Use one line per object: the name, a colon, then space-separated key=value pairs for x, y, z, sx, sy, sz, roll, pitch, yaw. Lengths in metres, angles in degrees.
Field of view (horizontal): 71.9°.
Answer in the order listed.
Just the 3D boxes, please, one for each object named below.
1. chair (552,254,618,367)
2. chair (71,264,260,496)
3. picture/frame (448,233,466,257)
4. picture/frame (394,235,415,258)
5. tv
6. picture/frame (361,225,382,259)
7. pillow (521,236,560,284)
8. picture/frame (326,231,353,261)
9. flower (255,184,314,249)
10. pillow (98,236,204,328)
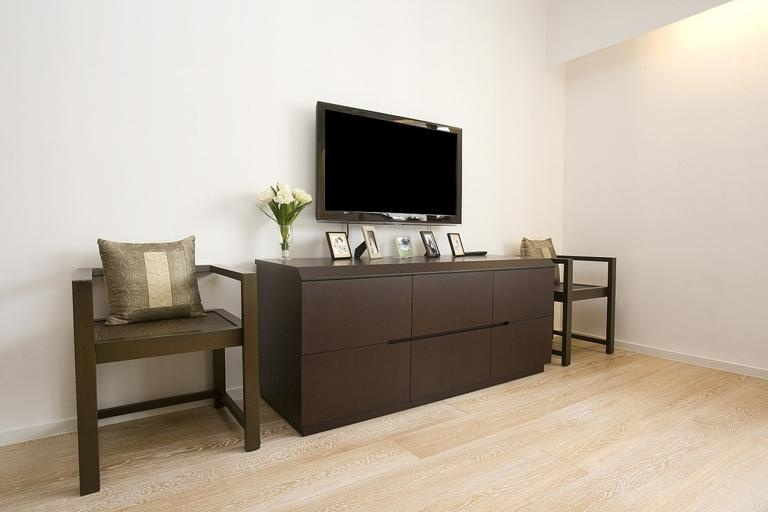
chair: x=1.500 y=0.421 z=4.531 sx=0.817 sy=0.835 sz=0.654 roll=-1 pitch=4 yaw=-35
chair: x=-1.351 y=0.609 z=3.306 sx=0.886 sy=1.140 sz=1.015 roll=-5 pitch=6 yaw=-24
picture/frame: x=0.569 y=-0.091 z=4.081 sx=0.143 sy=0.170 sz=0.191 roll=-3 pitch=8 yaw=-6
picture/frame: x=0.150 y=-0.070 z=4.005 sx=0.167 sy=0.161 sz=0.012 roll=5 pitch=-15 yaw=-43
tv: x=0.067 y=-0.634 z=3.941 sx=1.286 sy=0.819 sz=0.127 roll=0 pitch=0 yaw=-32
picture/frame: x=-0.094 y=-0.085 z=3.778 sx=0.075 sy=0.238 sz=0.156 roll=-27 pitch=-10 yaw=29
pillow: x=1.339 y=-0.001 z=4.500 sx=0.338 sy=0.299 sz=0.155 roll=1 pitch=-5 yaw=-26
picture/frame: x=-0.318 y=-0.065 z=3.664 sx=0.029 sy=0.227 sz=0.204 roll=-20 pitch=-11 yaw=39
flower: x=-0.655 y=-0.237 z=3.462 sx=0.355 sy=0.448 sz=0.369 roll=-1 pitch=-3 yaw=37
pillow: x=-1.362 y=0.151 z=3.135 sx=0.555 sy=0.483 sz=0.283 roll=-4 pitch=14 yaw=-40
